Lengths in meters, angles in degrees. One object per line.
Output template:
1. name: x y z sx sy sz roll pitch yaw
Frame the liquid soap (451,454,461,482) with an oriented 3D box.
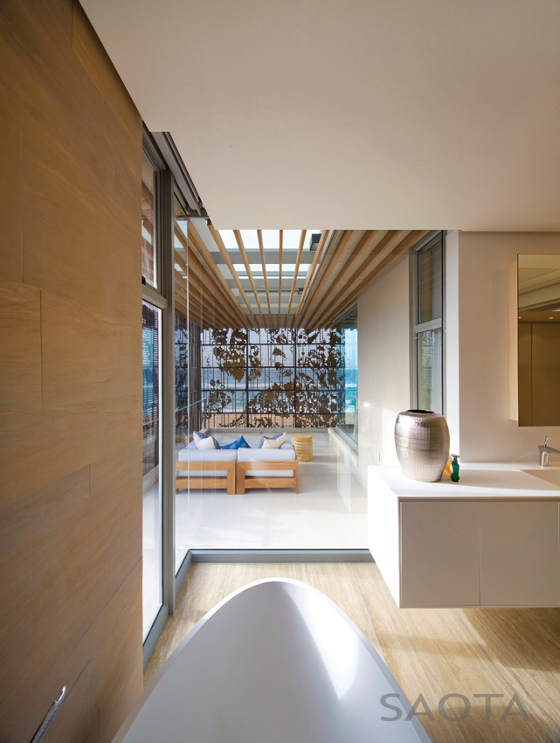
1. liquid soap: 0.869 0.477 2.259 0.037 0.122 0.079 1 2 21
